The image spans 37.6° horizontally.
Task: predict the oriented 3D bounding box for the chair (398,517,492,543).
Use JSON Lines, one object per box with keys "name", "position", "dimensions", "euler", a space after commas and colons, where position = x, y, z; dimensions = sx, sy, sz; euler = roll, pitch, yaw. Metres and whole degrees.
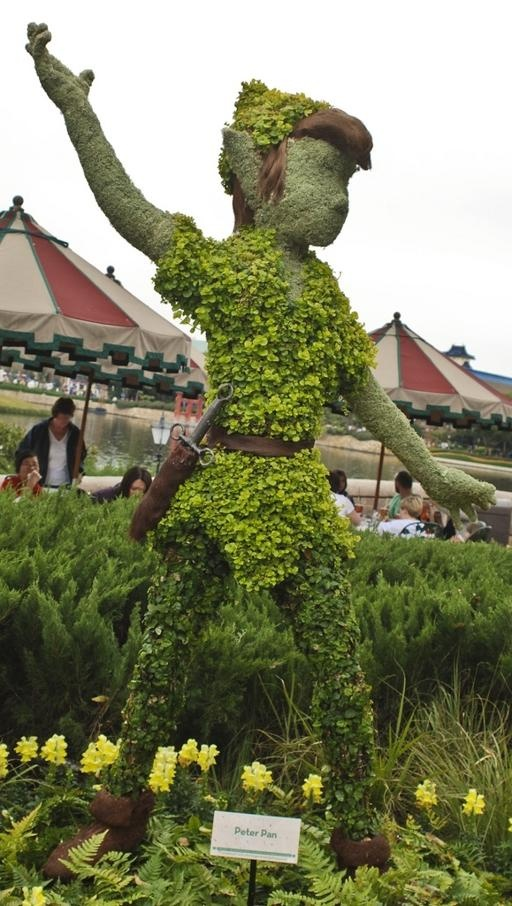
{"name": "chair", "position": [1.721, 0.711, 6.948], "dimensions": [0.604, 0.310, 0.797], "euler": [1, -13, -1]}
